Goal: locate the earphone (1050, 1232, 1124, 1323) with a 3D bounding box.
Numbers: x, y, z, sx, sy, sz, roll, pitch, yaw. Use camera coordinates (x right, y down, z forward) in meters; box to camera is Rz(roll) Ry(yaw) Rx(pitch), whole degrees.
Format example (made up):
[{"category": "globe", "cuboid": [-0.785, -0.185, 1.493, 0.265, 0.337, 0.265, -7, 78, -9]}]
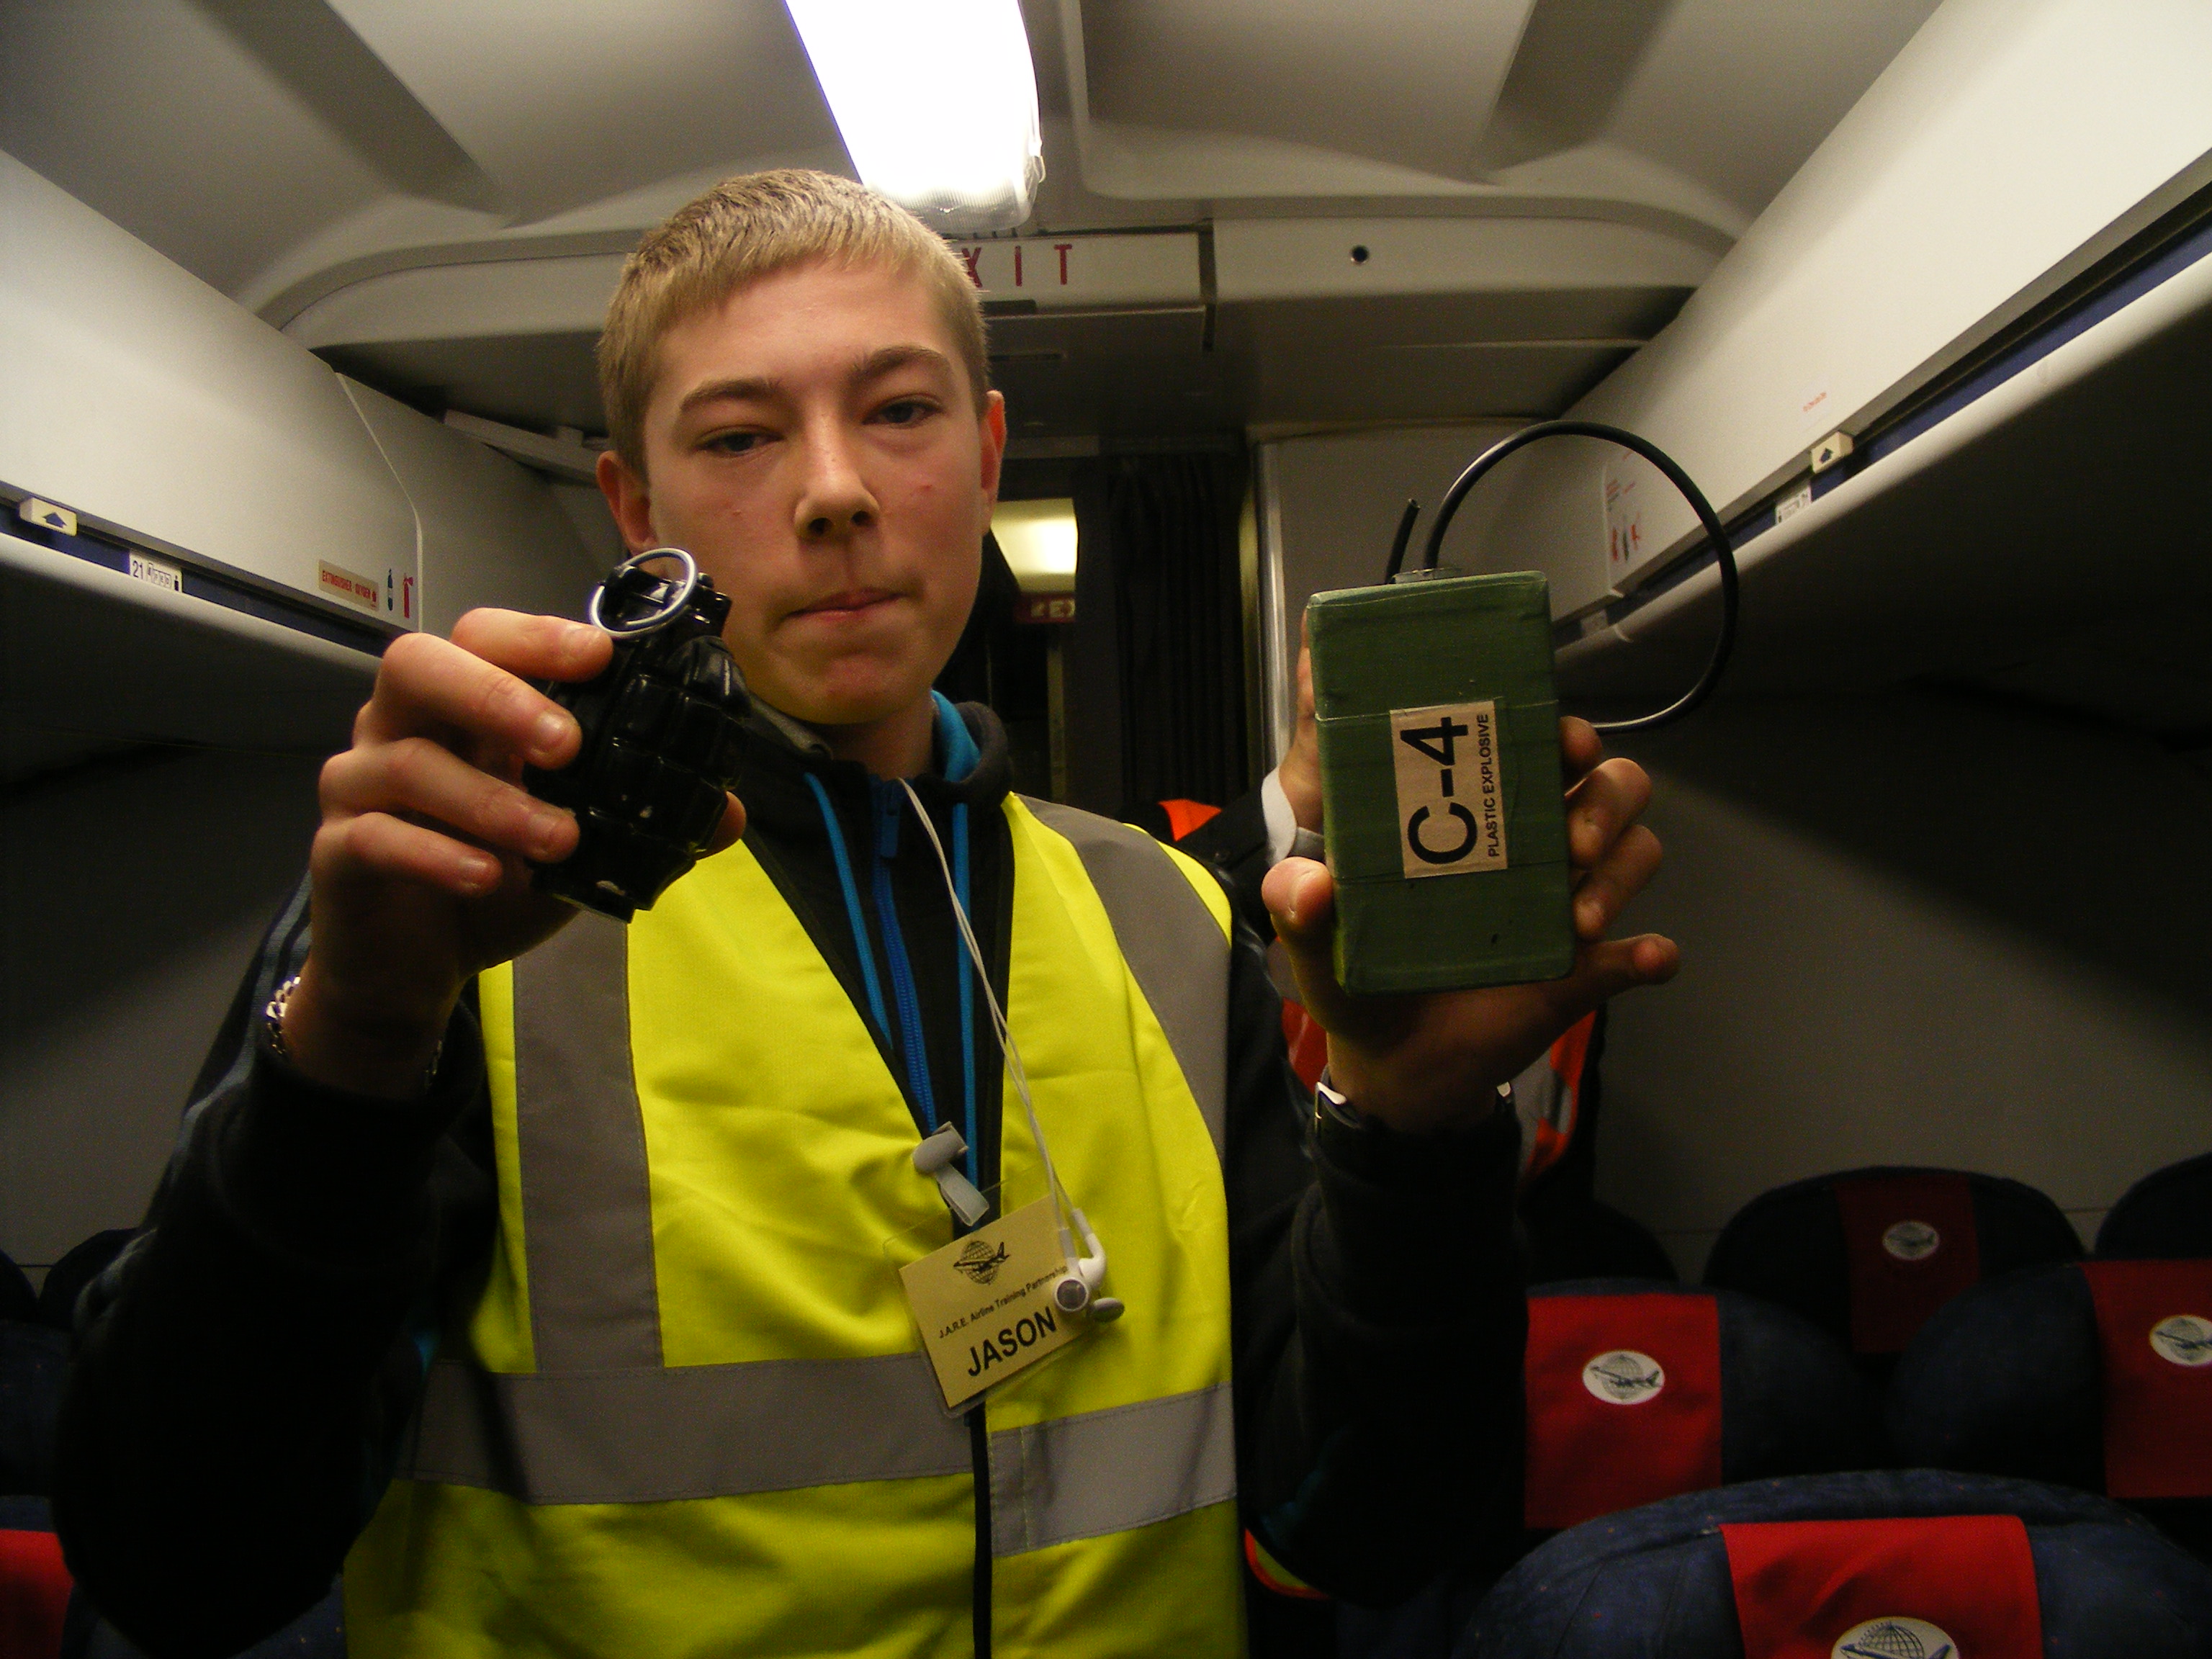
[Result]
[{"category": "earphone", "cuboid": [-0.017, 0.448, 1.611, 0.071, 0.082, 0.033, 14, -11, -30]}]
